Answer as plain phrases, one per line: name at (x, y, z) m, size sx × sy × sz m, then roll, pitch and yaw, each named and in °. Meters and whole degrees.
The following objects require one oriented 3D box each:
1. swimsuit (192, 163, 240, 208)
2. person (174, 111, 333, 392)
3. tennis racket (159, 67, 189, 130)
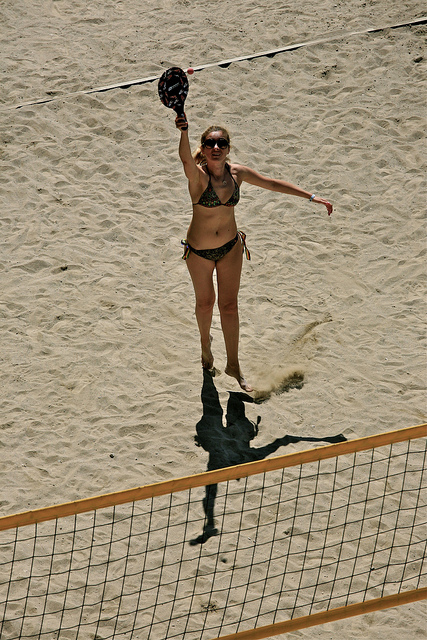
swimsuit at (0.020, -1.148, 13.894) m, size 0.420 × 0.419 × 0.186 m, roll -25°, pitch 30°, yaw -29°
person at (0.068, -0.654, 14.335) m, size 0.537 × 2.827 × 0.937 m, roll 17°, pitch 38°, yaw 42°
tennis racket at (-0.343, -1.881, 13.278) m, size 0.203 × 0.401 × 0.167 m, roll 4°, pitch 30°, yaw 26°
